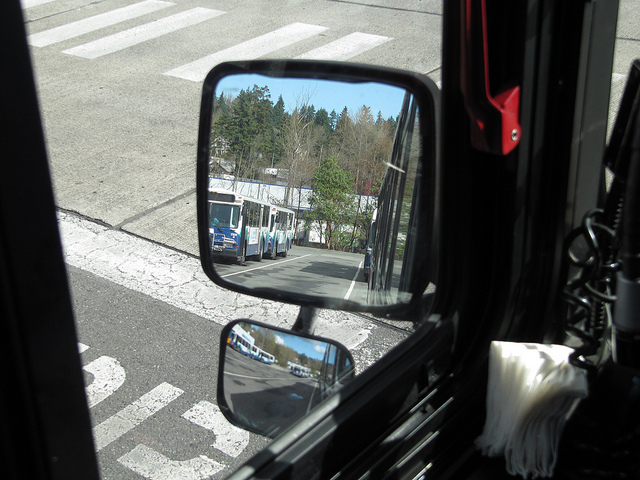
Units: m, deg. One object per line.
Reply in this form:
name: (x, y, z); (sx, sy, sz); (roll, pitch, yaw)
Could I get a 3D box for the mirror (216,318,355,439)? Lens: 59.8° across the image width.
mirror: (-0.128, 0.414, 1.705); (0.419, 0.279, 0.244); (9, 14, 28)

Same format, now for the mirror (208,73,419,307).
mirror: (0.002, -0.152, 1.531); (0.519, 0.606, 0.049); (9, 28, 14)
